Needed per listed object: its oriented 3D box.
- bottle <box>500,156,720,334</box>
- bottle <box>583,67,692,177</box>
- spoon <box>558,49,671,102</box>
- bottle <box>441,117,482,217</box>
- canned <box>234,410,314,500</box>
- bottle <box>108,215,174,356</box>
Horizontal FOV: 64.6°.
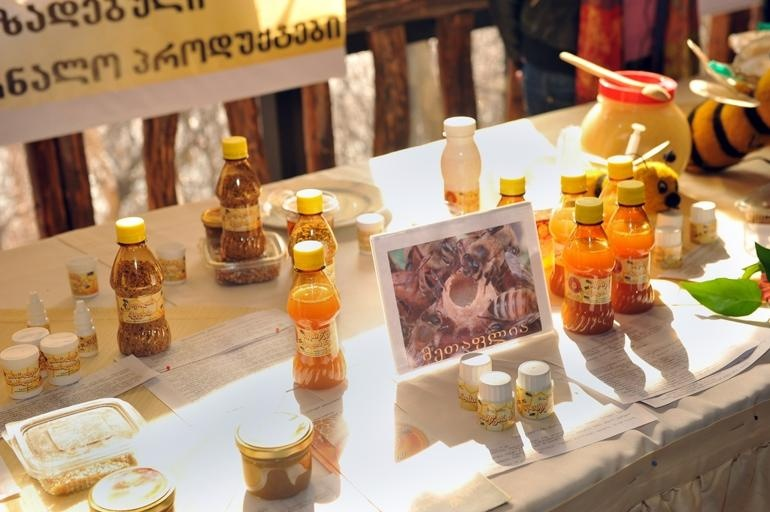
[{"bbox_3d":[0.351,0.018,1.153,0.349,0.381,0.204,0,-11,7],"label":"bottle"},{"bbox_3d":[0.563,-0.303,1.435,0.215,0.205,0.212,-5,32,-6],"label":"bottle"},{"bbox_3d":[0.510,-0.398,1.358,0.263,0.042,0.095,22,19,10],"label":"spoon"},{"bbox_3d":[0.149,-0.185,1.276,0.072,0.230,0.063,24,39,35],"label":"bottle"},{"bbox_3d":[-0.155,0.261,0.858,0.094,0.108,0.097,-7,27,-13],"label":"canned"},{"bbox_3d":[-0.421,0.069,1.075,0.084,0.257,0.078,2,35,-1],"label":"bottle"}]
